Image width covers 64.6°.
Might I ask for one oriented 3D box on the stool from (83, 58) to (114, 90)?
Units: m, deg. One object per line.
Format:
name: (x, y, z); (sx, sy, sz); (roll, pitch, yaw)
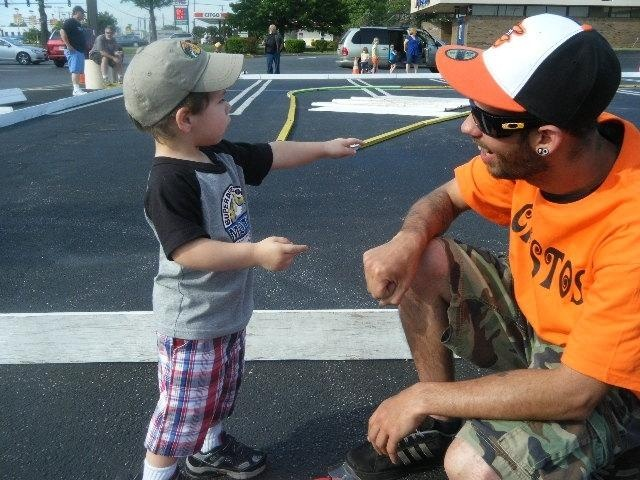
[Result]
stool: (-5.440, -3.943, 12.277); (0.516, 0.882, 0.538); (3, 5, 31)

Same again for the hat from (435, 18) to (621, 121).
hat: (0.731, -0.649, 1.812); (0.623, 0.310, 0.454); (15, 40, 23)

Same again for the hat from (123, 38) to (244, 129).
hat: (-0.555, -0.652, 1.940); (0.481, 0.244, 0.313); (-25, 39, 1)
